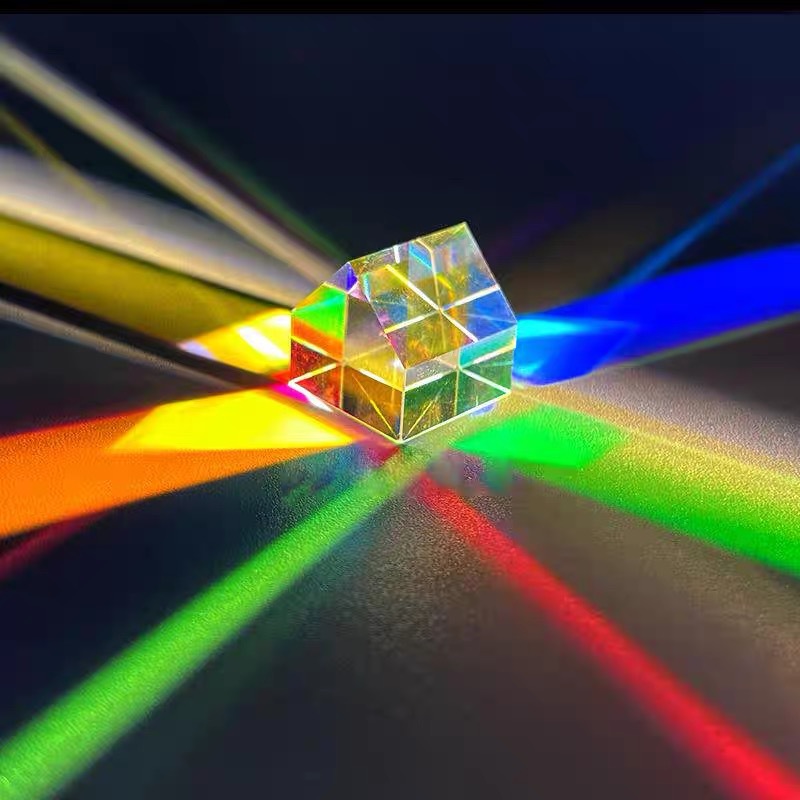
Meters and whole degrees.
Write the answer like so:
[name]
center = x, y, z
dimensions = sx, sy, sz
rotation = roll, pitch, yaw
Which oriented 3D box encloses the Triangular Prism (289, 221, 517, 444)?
[Triangular Prism]
center = 0.002, -0.079, 0.877
dimensions = 0.211, 0.198, 0.157
rotation = -14, -56, -28
